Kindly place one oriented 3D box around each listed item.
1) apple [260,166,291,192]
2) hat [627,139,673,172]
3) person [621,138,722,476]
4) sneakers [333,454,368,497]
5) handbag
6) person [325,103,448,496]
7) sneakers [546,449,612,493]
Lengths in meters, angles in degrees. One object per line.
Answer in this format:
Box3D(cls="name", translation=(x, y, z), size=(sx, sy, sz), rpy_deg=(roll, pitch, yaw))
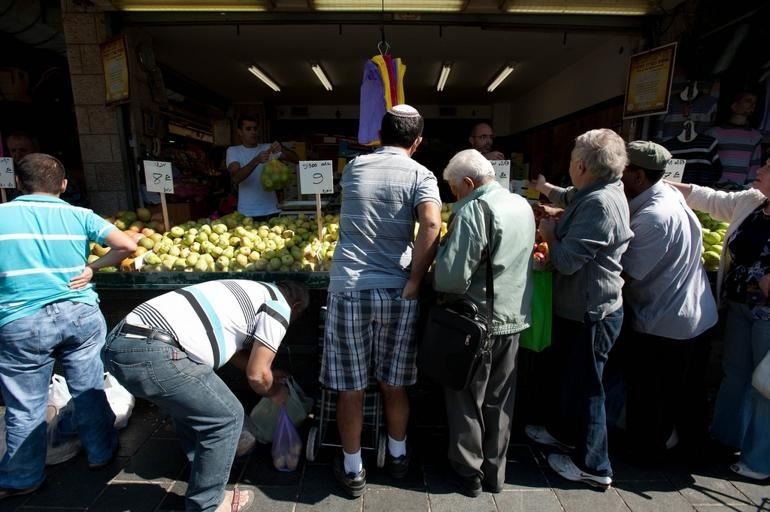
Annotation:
Box3D(cls="apple", translation=(-1.177, -0.874, 5.447), size=(0.288, 0.355, 0.260), rpy_deg=(7, 36, -4))
Box3D(cls="hat", translation=(2.107, -0.802, 3.952), size=(0.238, 0.123, 0.317), rpy_deg=(7, 22, 3))
Box3D(cls="person", translation=(2.358, 0.402, 4.119), size=(0.944, 2.613, 0.406), rpy_deg=(3, 12, -3))
Box3D(cls="sneakers", translation=(-0.282, 1.780, 3.998), size=(0.141, 0.155, 0.349), rpy_deg=(-2, 21, -12))
Box3D(cls="handbag", translation=(0.540, 0.642, 3.794), size=(0.465, 0.627, 0.335), rpy_deg=(11, 14, 30))
Box3D(cls="person", translation=(-0.056, 0.359, 3.902), size=(0.847, 3.038, 0.540), rpy_deg=(0, 13, -16))
Box3D(cls="sneakers", translation=(1.552, 1.759, 4.073), size=(0.538, 0.201, 0.190), rpy_deg=(16, -4, 22))
